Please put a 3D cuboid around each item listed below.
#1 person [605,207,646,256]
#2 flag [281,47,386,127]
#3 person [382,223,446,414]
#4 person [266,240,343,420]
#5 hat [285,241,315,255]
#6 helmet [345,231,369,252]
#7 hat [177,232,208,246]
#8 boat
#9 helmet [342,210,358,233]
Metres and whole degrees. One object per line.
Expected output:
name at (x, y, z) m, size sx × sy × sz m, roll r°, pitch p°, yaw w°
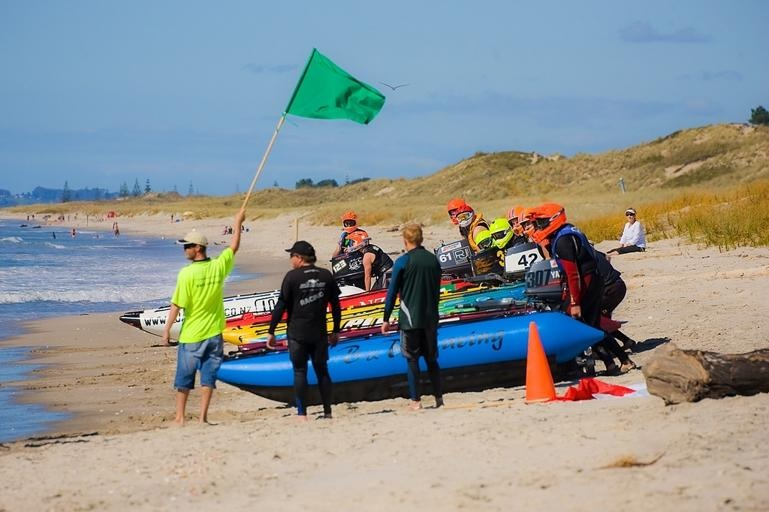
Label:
person at (5.921, -0.587, 20.927) m, size 1.175 × 1.122 × 0.688 m, roll -7°, pitch 10°, yaw -15°
flag at (-0.704, -2.799, 13.971) m, size 1.510 × 1.534 × 0.132 m, roll 6°, pitch -31°, yaw 4°
person at (0.463, 0.889, 11.836) m, size 0.769 × 2.647 × 0.641 m, roll -14°, pitch 13°, yaw -34°
person at (-1.074, 1.105, 11.823) m, size 1.057 × 2.596 × 0.602 m, roll -8°, pitch 11°, yaw -7°
hat at (-1.163, -0.095, 11.752) m, size 0.316 × 0.169 × 0.224 m, roll 3°, pitch 1°, yaw 16°
helmet at (-0.505, -0.294, 16.168) m, size 0.436 × 0.398 × 0.329 m, roll 19°, pitch 11°, yaw 13°
hat at (-2.690, -0.233, 11.745) m, size 0.342 × 0.160 × 0.240 m, roll 2°, pitch -2°, yaw 2°
boat at (0.230, 0.920, 13.414) m, size 5.774 × 1.683 × 2.550 m, roll -2°, pitch -3°, yaw 3°
helmet at (-0.698, -0.658, 16.204) m, size 0.291 × 0.342 × 0.373 m, roll -1°, pitch -3°, yaw 6°
